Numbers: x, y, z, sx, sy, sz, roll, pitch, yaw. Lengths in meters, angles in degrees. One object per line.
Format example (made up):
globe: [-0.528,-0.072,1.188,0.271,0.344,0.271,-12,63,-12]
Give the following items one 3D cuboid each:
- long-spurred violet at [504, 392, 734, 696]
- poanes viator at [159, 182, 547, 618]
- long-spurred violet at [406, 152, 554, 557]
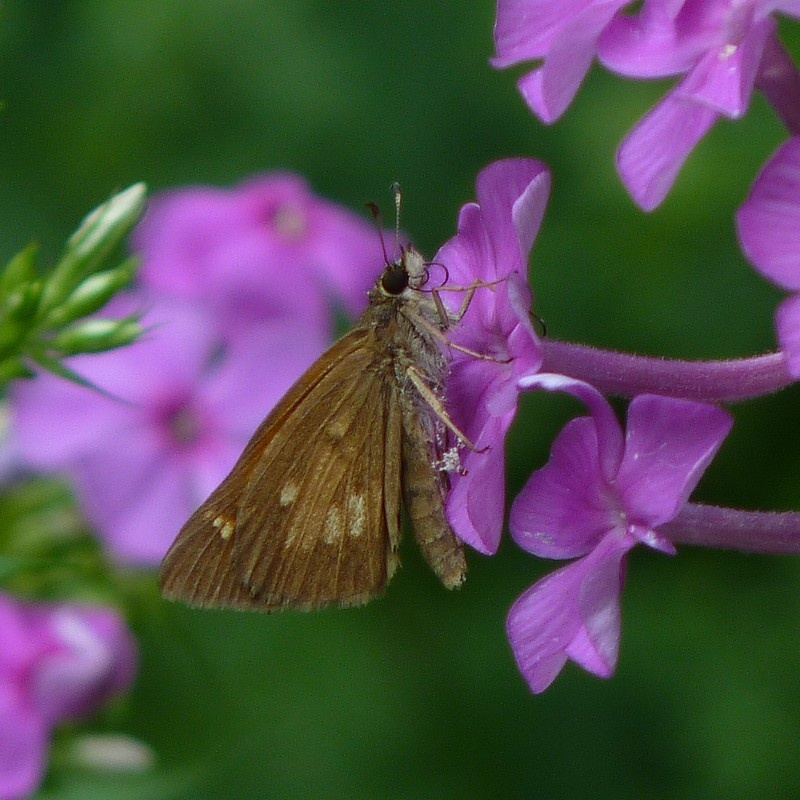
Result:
long-spurred violet: [0.138,0.073,0.643,0.071,0.209,0.185,16,-2,-20]
poanes viator: [-0.054,0.002,0.900,0.206,0.211,0.344,17,36,16]
long-spurred violet: [0.063,-0.026,0.713,0.103,0.228,0.167,1,50,6]
